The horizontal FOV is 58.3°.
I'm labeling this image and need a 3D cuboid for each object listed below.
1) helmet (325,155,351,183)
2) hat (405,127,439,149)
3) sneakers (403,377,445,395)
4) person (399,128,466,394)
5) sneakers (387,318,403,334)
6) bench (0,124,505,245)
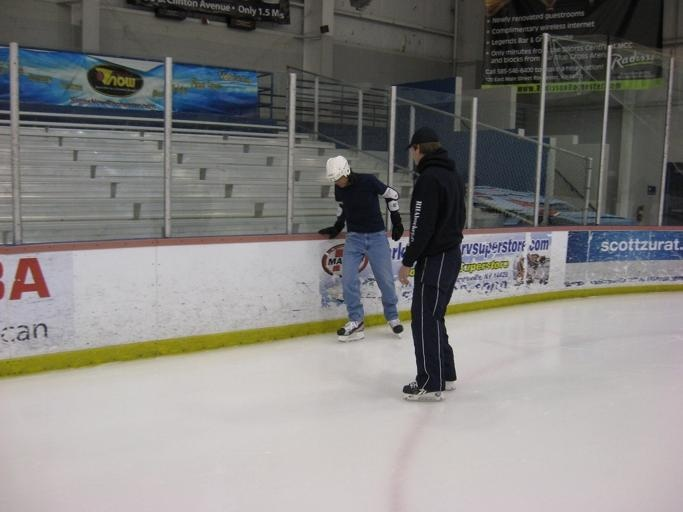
[{"bbox_3d":[-0.019,-0.888,6.371,0.231,0.273,0.255,13,-4,27],"label":"helmet"},{"bbox_3d":[0.660,-0.986,5.110,0.235,0.129,0.166,16,28,42],"label":"hat"},{"bbox_3d":[0.666,1.090,5.109,0.354,0.152,0.133,3,3,3],"label":"sneakers"},{"bbox_3d":[0.736,0.068,5.076,0.504,2.220,0.577,3,13,11],"label":"person"},{"bbox_3d":[0.589,0.785,6.832,0.087,0.099,0.252,-11,9,-8],"label":"sneakers"},{"bbox_3d":[-1.570,-0.765,6.405,3.625,1.152,0.644,-6,14,-29],"label":"bench"}]
